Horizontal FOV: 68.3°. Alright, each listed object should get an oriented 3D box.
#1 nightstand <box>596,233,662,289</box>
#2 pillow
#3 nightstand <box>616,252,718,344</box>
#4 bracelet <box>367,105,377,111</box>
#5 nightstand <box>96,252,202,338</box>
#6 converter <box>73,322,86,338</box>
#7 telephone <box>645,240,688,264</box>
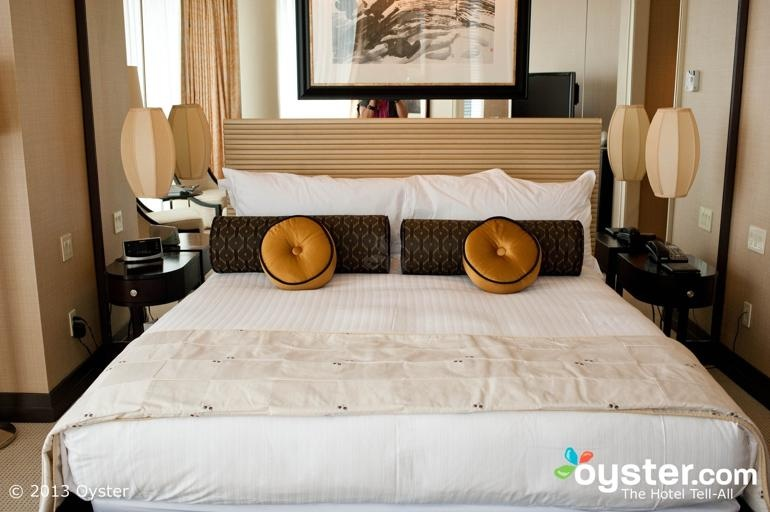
[{"bbox_3d":[1.615,-0.043,3.836,0.296,0.399,0.593,-1,25,5],"label":"nightstand"},{"bbox_3d":[0.154,-0.226,3.485,2.333,0.588,0.404,0,16,1],"label":"pillow"},{"bbox_3d":[1.758,0.145,3.590,0.457,0.592,0.666,-2,14,1],"label":"nightstand"},{"bbox_3d":[-0.093,-1.098,4.196,0.063,0.044,0.012,-8,18,-23],"label":"bracelet"},{"bbox_3d":[-1.468,0.334,3.652,0.441,0.513,0.724,1,17,1],"label":"nightstand"},{"bbox_3d":[-1.839,0.447,3.393,0.087,0.087,0.049,1,6,-9],"label":"converter"},{"bbox_3d":[1.729,-0.009,3.509,0.132,0.060,0.189,4,18,4],"label":"telephone"}]
